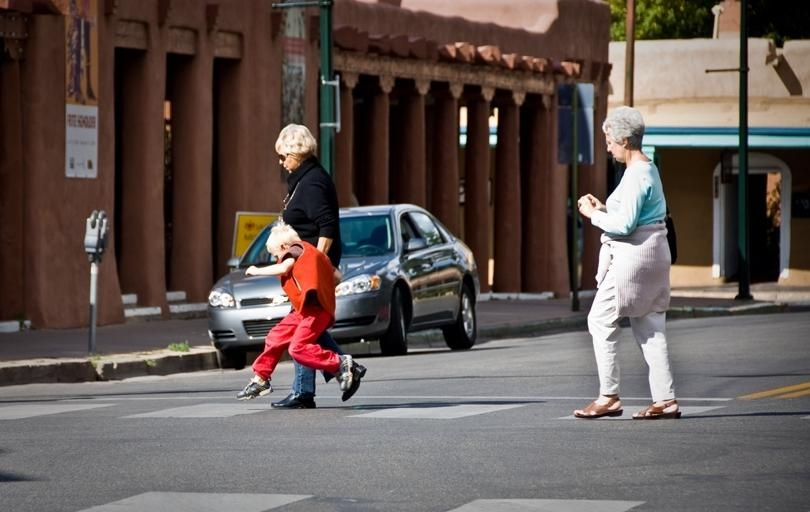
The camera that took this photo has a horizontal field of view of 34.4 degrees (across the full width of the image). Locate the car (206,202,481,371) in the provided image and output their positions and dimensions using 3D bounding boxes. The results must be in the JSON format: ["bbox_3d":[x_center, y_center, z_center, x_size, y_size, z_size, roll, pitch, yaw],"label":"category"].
[{"bbox_3d":[-0.576,0.373,20.644,2.051,1.777,4.375,-4,-5,28],"label":"car"}]

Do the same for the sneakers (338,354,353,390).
[{"bbox_3d":[-0.667,1.279,14.566,0.131,0.419,0.182,-1,1,31],"label":"sneakers"}]

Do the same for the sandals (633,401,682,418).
[{"bbox_3d":[2.643,1.634,13.840,0.425,0.184,0.197,0,-1,8],"label":"sandals"}]

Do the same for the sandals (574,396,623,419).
[{"bbox_3d":[2.043,1.629,13.903,0.436,0.204,0.237,-1,0,-2],"label":"sandals"}]

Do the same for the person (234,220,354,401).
[{"bbox_3d":[-1.125,0.619,14.541,1.243,2.014,0.490,-2,3,0],"label":"person"}]

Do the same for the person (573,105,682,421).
[{"bbox_3d":[2.351,0.089,13.775,0.923,3.275,0.381,-1,3,10],"label":"person"}]

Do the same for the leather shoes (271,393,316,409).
[{"bbox_3d":[-1.256,1.636,14.787,0.491,0.226,0.189,4,-5,-2],"label":"leather shoes"}]
